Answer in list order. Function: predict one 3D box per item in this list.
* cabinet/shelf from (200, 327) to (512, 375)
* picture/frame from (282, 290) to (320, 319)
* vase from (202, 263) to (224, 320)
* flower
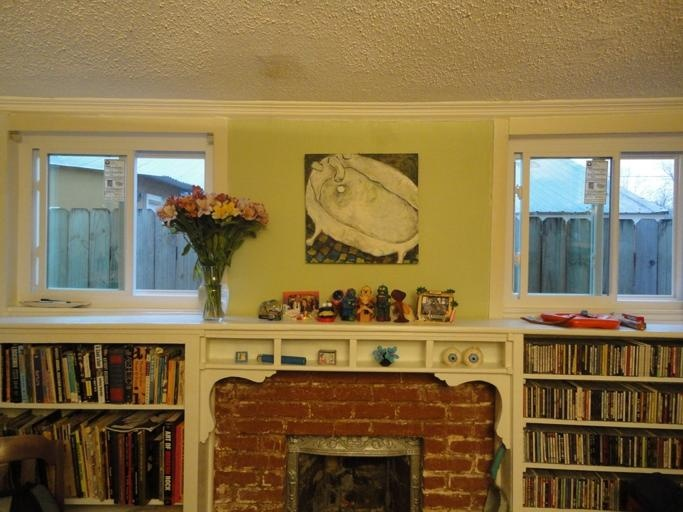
[{"bbox_3d":[0.075,0.496,4.676,1.652,0.262,0.174,0,5,3],"label":"cabinet/shelf"},{"bbox_3d":[-0.230,0.282,4.811,0.140,0.128,0.020,2,-27,-11],"label":"picture/frame"},{"bbox_3d":[-0.713,0.202,4.796,0.124,0.304,0.129,0,1,9],"label":"vase"},{"bbox_3d":[-0.756,-0.035,4.892,0.563,0.631,0.592,4,4,44],"label":"flower"}]
